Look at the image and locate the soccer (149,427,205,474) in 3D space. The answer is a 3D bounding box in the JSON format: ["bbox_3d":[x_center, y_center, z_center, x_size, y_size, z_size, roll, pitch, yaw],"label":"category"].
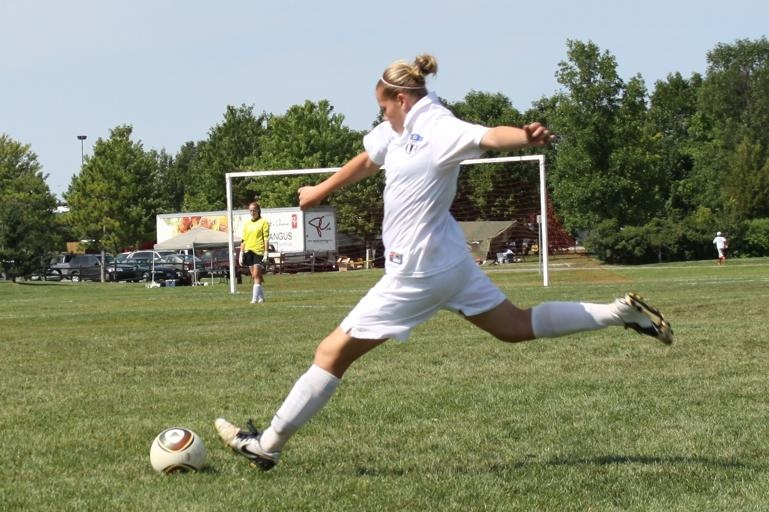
[{"bbox_3d":[-1.791,1.684,6.776,0.372,0.375,0.368,-16,43,-4],"label":"soccer"}]
